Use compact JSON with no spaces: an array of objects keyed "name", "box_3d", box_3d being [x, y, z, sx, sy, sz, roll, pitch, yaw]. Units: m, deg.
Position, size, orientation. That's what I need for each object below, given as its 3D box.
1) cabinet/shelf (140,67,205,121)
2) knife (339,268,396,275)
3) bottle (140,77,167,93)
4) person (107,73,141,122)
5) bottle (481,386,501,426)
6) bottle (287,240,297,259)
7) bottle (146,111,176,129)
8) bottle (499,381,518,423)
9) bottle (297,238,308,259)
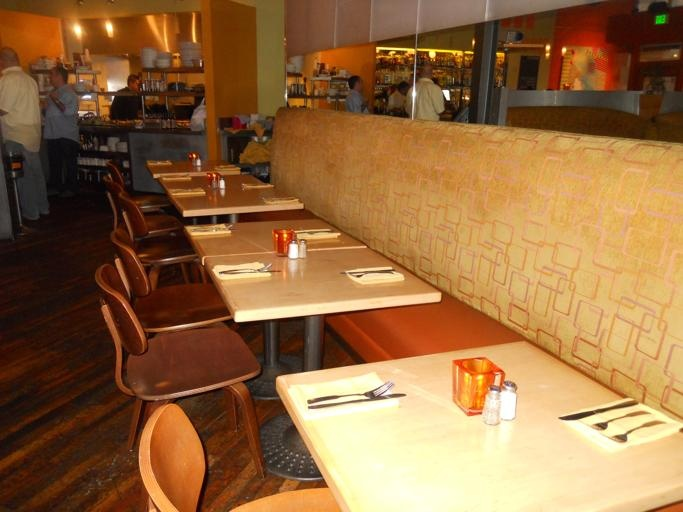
[{"name":"cabinet/shelf","box_3d":[-2.641,-2.591,7.737,1.344,0.729,0.437,-16,27,-41]},{"name":"knife","box_3d":[0.129,0.068,2.217,0.194,0.024,0.074,1,4,-15]},{"name":"bottle","box_3d":[-2.945,-2.667,7.674,0.361,0.199,0.675,-11,21,-28]},{"name":"person","box_3d":[-3.766,-2.744,8.499,0.582,0.735,1.055,-8,21,-20]},{"name":"bottle","box_3d":[0.420,0.415,1.360,0.046,0.110,0.038,4,21,15]},{"name":"bottle","box_3d":[-0.234,-0.032,2.378,0.050,0.080,0.044,-18,26,-39]},{"name":"bottle","box_3d":[-2.872,-2.144,7.746,0.434,0.214,0.784,-9,20,-22]},{"name":"bottle","box_3d":[0.478,0.423,1.401,0.055,0.053,0.086,-12,51,32]},{"name":"bottle","box_3d":[-0.194,-0.042,2.420,0.043,0.082,0.102,-3,19,-4]}]
